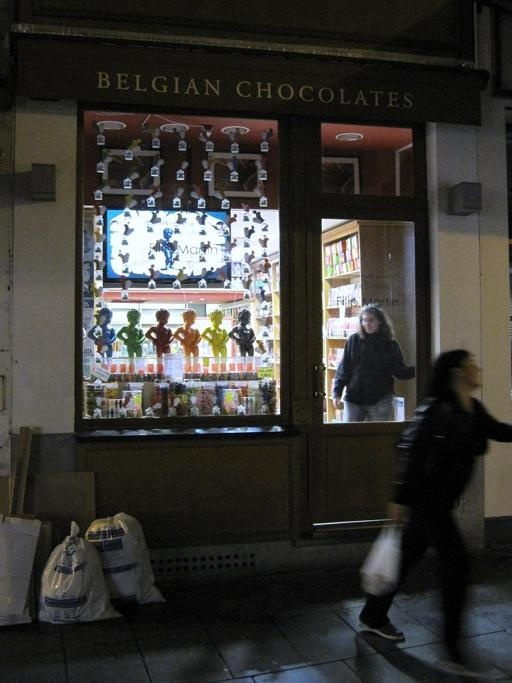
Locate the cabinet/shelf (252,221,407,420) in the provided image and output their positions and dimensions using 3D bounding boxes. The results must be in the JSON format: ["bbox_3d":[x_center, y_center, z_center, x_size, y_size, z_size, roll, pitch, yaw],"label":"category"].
[{"bbox_3d":[0.477,-0.126,5.792,0.537,1.982,1.258,5,-8,-29],"label":"cabinet/shelf"}]

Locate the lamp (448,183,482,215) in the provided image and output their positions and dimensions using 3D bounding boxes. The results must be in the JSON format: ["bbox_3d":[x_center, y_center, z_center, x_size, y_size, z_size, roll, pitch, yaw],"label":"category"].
[{"bbox_3d":[1.475,-0.991,5.854,0.237,0.232,0.227,2,-1,-20],"label":"lamp"}]

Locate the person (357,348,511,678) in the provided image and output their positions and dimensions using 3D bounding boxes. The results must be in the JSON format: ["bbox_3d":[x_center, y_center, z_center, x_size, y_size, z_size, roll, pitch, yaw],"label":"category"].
[{"bbox_3d":[0.825,0.783,3.916,0.588,1.493,0.401,0,3,19],"label":"person"}]

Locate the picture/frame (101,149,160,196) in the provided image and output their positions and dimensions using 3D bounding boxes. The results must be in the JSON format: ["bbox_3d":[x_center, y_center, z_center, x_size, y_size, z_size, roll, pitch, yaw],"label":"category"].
[{"bbox_3d":[-0.871,-1.151,5.543,0.364,0.271,0.026,0,1,-23],"label":"picture/frame"}]

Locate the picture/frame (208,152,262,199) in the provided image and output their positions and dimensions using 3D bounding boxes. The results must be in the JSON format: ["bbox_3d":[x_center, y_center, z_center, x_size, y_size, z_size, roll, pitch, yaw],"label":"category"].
[{"bbox_3d":[-0.151,-1.177,5.741,0.350,0.273,0.025,0,1,-6],"label":"picture/frame"}]

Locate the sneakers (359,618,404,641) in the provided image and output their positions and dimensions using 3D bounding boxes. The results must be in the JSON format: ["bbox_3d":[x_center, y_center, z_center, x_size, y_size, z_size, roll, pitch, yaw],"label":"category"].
[{"bbox_3d":[0.649,1.459,4.194,0.217,0.090,0.086,3,-9,24],"label":"sneakers"}]

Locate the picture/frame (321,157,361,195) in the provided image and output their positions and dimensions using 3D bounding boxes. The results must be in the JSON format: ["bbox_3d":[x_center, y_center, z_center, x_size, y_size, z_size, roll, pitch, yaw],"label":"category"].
[{"bbox_3d":[0.593,-1.175,5.823,0.310,0.278,0.020,0,-1,-23],"label":"picture/frame"}]
